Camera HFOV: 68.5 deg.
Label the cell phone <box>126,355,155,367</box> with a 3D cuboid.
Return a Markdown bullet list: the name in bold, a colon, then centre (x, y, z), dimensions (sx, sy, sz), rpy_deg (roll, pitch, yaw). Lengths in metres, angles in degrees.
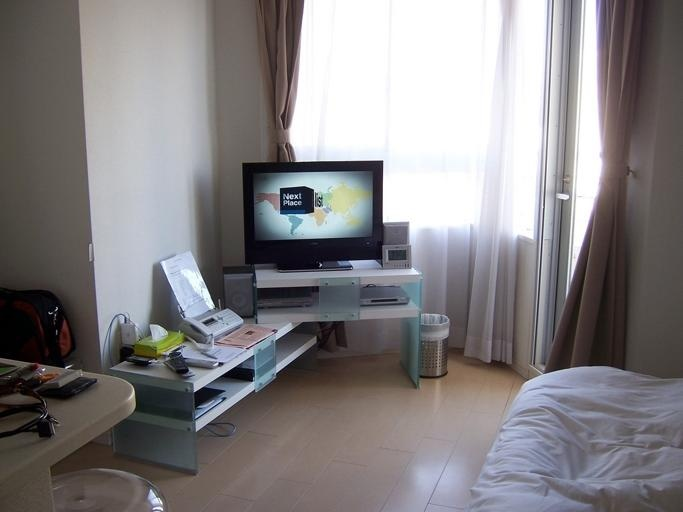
- **cell phone**: centre (-1.119, 0.565, 2.773), dimensions (0.127, 0.046, 0.066), rpy_deg (5, 19, 13)

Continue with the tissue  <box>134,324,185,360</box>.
- **tissue **: centre (-1.066, 0.512, 2.878), dimensions (0.137, 0.065, 0.272), rpy_deg (5, 12, 7)

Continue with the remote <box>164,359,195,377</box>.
- **remote**: centre (-0.878, 0.569, 2.705), dimensions (0.069, 0.059, 0.199), rpy_deg (-8, 15, -32)

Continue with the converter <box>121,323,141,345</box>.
- **converter**: centre (-1.234, 0.452, 2.914), dimensions (0.105, 0.155, 0.079), rpy_deg (0, 4, -9)

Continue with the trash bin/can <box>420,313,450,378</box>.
- **trash bin/can**: centre (0.701, 0.657, 3.802), dimensions (0.215, 0.442, 0.470), rpy_deg (2, 13, 10)

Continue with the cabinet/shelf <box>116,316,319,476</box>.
- **cabinet/shelf**: centre (-0.764, 0.798, 3.024), dimensions (0.522, 0.539, 1.105), rpy_deg (11, 17, 41)

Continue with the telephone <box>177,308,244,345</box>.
- **telephone**: centre (-0.819, 0.432, 3.202), dimensions (0.219, 0.144, 0.413), rpy_deg (3, 9, 24)
